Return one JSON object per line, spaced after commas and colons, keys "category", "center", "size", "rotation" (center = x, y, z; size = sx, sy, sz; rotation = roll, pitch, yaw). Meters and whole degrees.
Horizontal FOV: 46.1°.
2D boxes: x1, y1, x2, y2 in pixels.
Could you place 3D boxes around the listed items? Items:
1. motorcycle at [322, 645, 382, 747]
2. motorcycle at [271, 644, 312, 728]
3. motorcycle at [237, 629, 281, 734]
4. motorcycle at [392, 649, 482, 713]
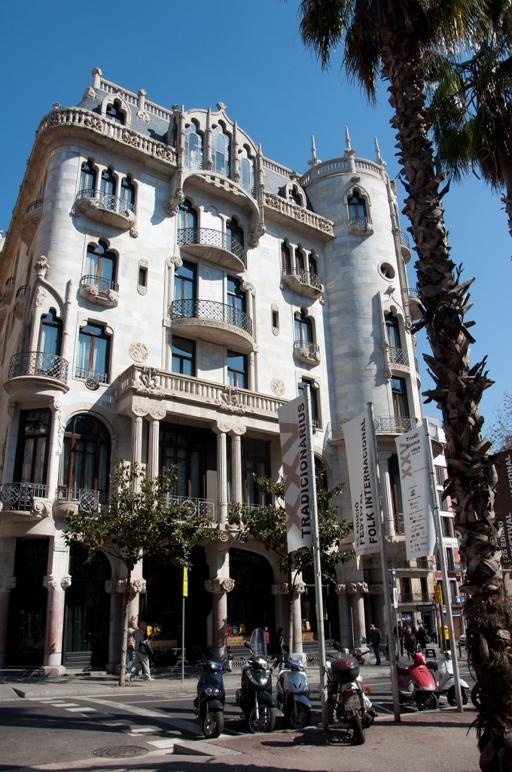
{"category": "motorcycle", "center": [1.293, 4.530, 8.537], "size": [0.689, 0.898, 1.378], "rotation": [-4, -40, 1]}
{"category": "motorcycle", "center": [0.614, 5.131, 10.132], "size": [0.494, 1.031, 1.610], "rotation": [4, -19, -4]}
{"category": "motorcycle", "center": [0.000, 4.838, 10.124], "size": [0.461, 1.314, 1.936], "rotation": [6, -7, -7]}
{"category": "motorcycle", "center": [3.482, 5.847, 11.888], "size": [1.265, 1.009, 1.945], "rotation": [-8, -22, 17]}
